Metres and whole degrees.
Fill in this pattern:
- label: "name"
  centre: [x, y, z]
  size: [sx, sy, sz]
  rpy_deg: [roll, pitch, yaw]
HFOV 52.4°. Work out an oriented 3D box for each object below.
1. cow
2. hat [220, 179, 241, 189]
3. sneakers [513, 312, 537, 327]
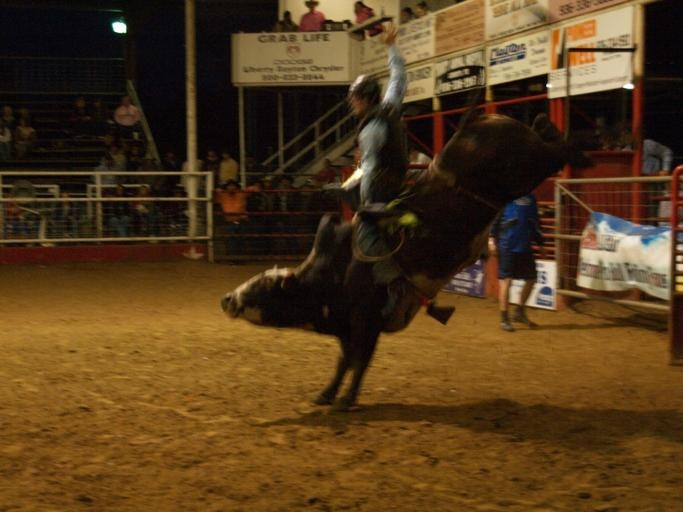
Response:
- label: "cow"
  centre: [0.457, 0.140, 4.846]
  size: [2.230, 2.154, 0.735]
  rpy_deg: [4, 4, 27]
- label: "hat"
  centre: [-2.350, -1.515, 14.565]
  size: [0.331, 0.152, 0.271]
  rpy_deg: [0, -5, 11]
- label: "sneakers"
  centre: [2.260, 0.792, 8.706]
  size: [0.360, 0.124, 0.123]
  rpy_deg: [18, -7, 45]
